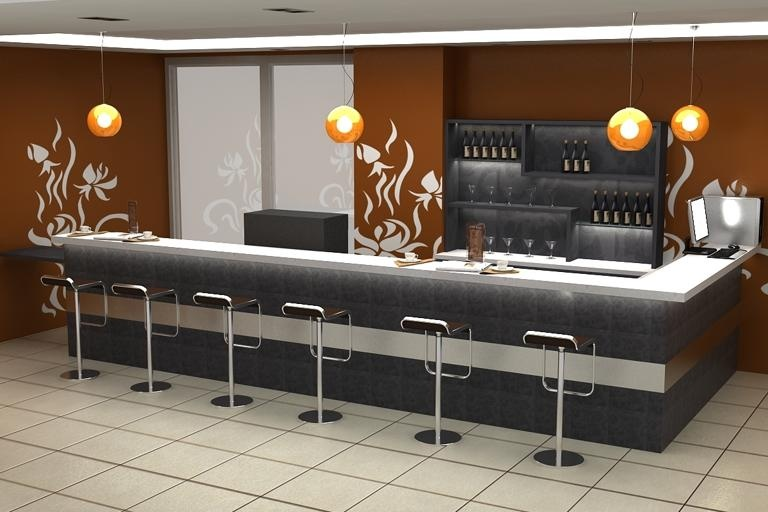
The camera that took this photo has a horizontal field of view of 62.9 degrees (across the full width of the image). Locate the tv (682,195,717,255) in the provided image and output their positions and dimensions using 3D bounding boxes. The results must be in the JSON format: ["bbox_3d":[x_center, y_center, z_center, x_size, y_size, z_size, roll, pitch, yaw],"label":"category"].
[{"bbox_3d":[3.577,-0.351,7.078,0.336,0.571,0.799,7,15,27],"label":"tv"}]

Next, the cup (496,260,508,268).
[{"bbox_3d":[1.085,0.075,5.791,0.079,0.049,0.070,-11,14,-41],"label":"cup"}]

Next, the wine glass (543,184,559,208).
[{"bbox_3d":[2.142,-0.787,8.168,0.253,0.298,0.261,0,1,3],"label":"wine glass"}]

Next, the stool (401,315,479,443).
[{"bbox_3d":[0.501,1.077,5.863,0.628,1.155,0.695,2,13,8],"label":"stool"}]

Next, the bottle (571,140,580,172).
[{"bbox_3d":[2.421,-1.264,7.946,0.109,0.387,0.146,3,14,13],"label":"bottle"}]

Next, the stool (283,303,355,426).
[{"bbox_3d":[-0.645,0.981,6.294,0.641,1.145,0.757,0,13,0],"label":"stool"}]

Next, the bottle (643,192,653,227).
[{"bbox_3d":[3.220,-0.562,7.685,0.109,0.384,0.186,5,14,21],"label":"bottle"}]

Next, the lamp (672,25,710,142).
[{"bbox_3d":[3.453,-1.873,6.969,0.361,1.229,1.155,6,15,26],"label":"lamp"}]

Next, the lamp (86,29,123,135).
[{"bbox_3d":[-3.621,-2.128,8.003,0.441,1.300,2.714,-5,14,-22],"label":"lamp"}]

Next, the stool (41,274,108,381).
[{"bbox_3d":[-3.530,0.775,7.298,0.759,1.136,0.696,7,15,28],"label":"stool"}]

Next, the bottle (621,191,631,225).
[{"bbox_3d":[3.006,-0.599,7.790,0.104,0.385,0.147,3,14,14],"label":"bottle"}]

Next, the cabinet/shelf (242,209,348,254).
[{"bbox_3d":[-1.131,-0.288,7.805,1.273,0.465,0.425,4,14,15],"label":"cabinet/shelf"}]

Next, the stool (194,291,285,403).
[{"bbox_3d":[-1.618,0.901,6.653,0.673,1.142,0.854,-3,13,-11],"label":"stool"}]

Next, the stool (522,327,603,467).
[{"bbox_3d":[1.525,1.171,5.496,0.597,1.141,0.647,5,14,19],"label":"stool"}]

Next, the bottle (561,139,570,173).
[{"bbox_3d":[2.309,-1.269,7.982,0.095,0.388,0.185,0,13,2],"label":"bottle"}]

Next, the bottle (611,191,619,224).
[{"bbox_3d":[2.886,-0.604,7.837,0.095,0.388,0.142,2,13,10],"label":"bottle"}]

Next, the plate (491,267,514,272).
[{"bbox_3d":[1.090,0.118,5.779,0.214,0.036,0.116,2,13,6],"label":"plate"}]

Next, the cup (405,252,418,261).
[{"bbox_3d":[0.275,0.012,6.178,0.100,0.065,0.078,0,2,-19],"label":"cup"}]

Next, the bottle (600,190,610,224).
[{"bbox_3d":[2.770,-0.607,7.877,0.126,0.389,0.152,4,14,18],"label":"bottle"}]

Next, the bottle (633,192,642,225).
[{"bbox_3d":[3.113,-0.578,7.721,0.104,0.392,0.188,5,14,22],"label":"bottle"}]

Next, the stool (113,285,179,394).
[{"bbox_3d":[-2.641,0.824,6.976,0.760,1.149,0.748,3,13,11],"label":"stool"}]

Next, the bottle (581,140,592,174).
[{"bbox_3d":[2.530,-1.250,7.890,0.117,0.393,0.154,4,14,17],"label":"bottle"}]

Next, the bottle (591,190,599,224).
[{"bbox_3d":[2.667,-0.619,7.924,0.100,0.393,0.161,4,14,17],"label":"bottle"}]
